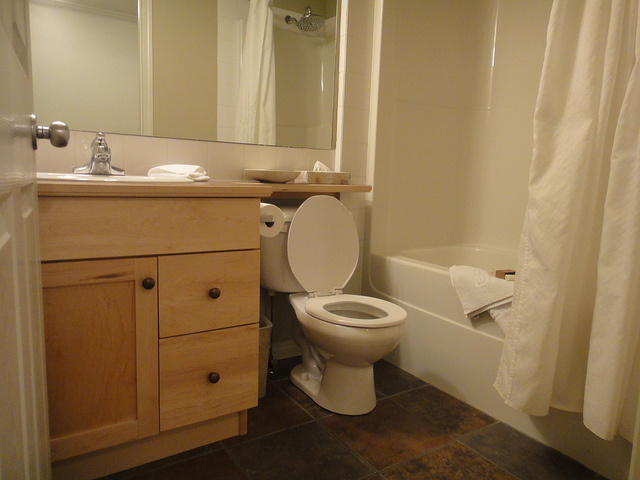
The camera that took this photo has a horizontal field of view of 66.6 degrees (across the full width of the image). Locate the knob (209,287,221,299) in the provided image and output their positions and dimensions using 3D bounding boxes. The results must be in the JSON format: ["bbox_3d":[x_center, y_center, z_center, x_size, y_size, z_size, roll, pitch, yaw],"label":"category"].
[{"bbox_3d":[-0.371,0.192,1.739,0.040,0.044,0.031,-2,14,-15],"label":"knob"}]

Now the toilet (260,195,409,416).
[{"bbox_3d":[0.071,0.295,2.276,0.469,0.862,0.807,-2,10,-39],"label":"toilet"}]

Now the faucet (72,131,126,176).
[{"bbox_3d":[-0.875,-0.343,1.950,0.174,0.156,0.100,0,0,-24],"label":"faucet"}]

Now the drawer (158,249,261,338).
[{"bbox_3d":[-0.375,0.196,1.849,0.394,0.296,0.239,-3,-3,0],"label":"drawer"}]

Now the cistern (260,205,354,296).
[{"bbox_3d":[-0.065,0.081,2.225,0.341,0.354,0.258,-5,11,-22],"label":"cistern"}]

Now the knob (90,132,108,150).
[{"bbox_3d":[-0.887,-0.401,1.958,0.043,0.075,0.064,20,16,25],"label":"knob"}]

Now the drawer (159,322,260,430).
[{"bbox_3d":[-0.429,0.454,1.828,0.315,0.320,0.328,-3,5,-34],"label":"drawer"}]

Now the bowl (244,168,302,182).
[{"bbox_3d":[-0.242,-0.315,2.333,0.249,0.059,0.176,9,15,28],"label":"bowl"}]

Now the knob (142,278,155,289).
[{"bbox_3d":[-0.567,0.144,1.621,0.033,0.034,0.014,38,-16,-33],"label":"knob"}]

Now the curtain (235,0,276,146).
[{"bbox_3d":[-0.297,-0.811,2.341,0.078,0.668,0.249,11,16,35],"label":"curtain"}]

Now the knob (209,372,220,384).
[{"bbox_3d":[-0.378,0.505,1.763,0.039,0.056,0.037,-3,14,-20],"label":"knob"}]
